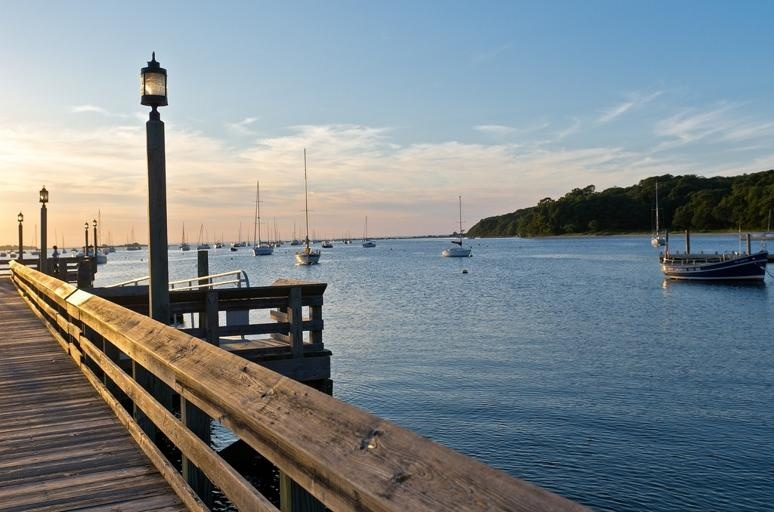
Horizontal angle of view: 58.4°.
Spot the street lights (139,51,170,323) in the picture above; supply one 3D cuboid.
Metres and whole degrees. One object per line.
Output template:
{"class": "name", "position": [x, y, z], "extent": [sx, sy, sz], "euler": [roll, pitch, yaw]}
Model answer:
{"class": "street lights", "position": [-2.875, -0.874, 8.718], "extent": [0.332, 2.958, 0.446], "euler": [-3, -1, -17]}

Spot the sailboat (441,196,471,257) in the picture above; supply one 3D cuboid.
{"class": "sailboat", "position": [12.162, -4.908, 116.525], "extent": [2.596, 9.677, 9.550], "euler": [-4, 4, -15]}
